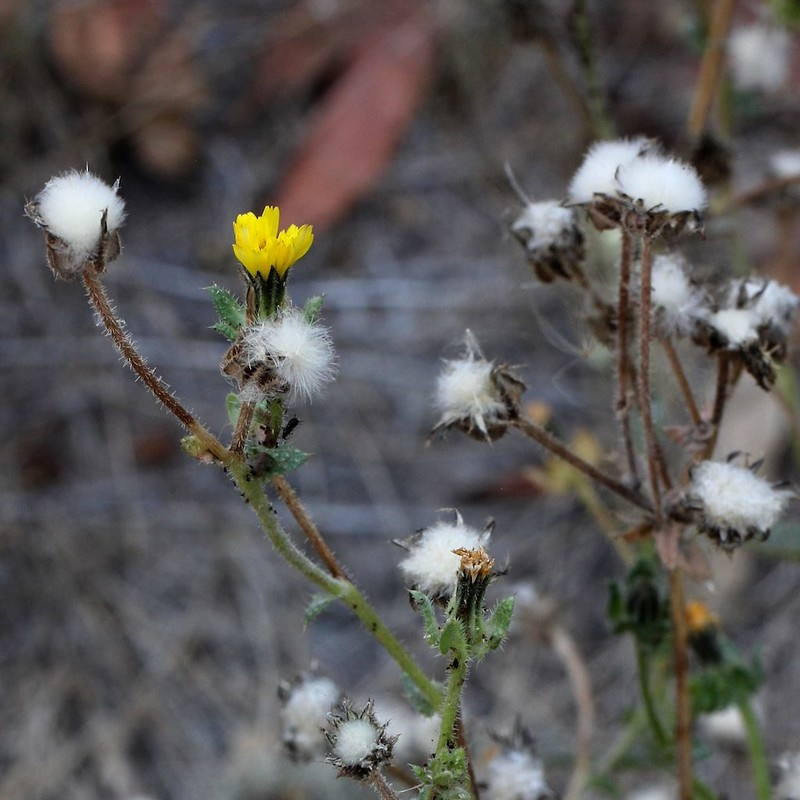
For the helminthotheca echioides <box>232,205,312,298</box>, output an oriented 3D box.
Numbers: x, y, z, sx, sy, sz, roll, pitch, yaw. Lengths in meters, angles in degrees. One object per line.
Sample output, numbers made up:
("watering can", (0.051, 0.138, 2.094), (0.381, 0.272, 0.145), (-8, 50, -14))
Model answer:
("helminthotheca echioides", (-0.123, -0.153, 1.432), (0.070, 0.066, 0.074), (6, 28, 4))
